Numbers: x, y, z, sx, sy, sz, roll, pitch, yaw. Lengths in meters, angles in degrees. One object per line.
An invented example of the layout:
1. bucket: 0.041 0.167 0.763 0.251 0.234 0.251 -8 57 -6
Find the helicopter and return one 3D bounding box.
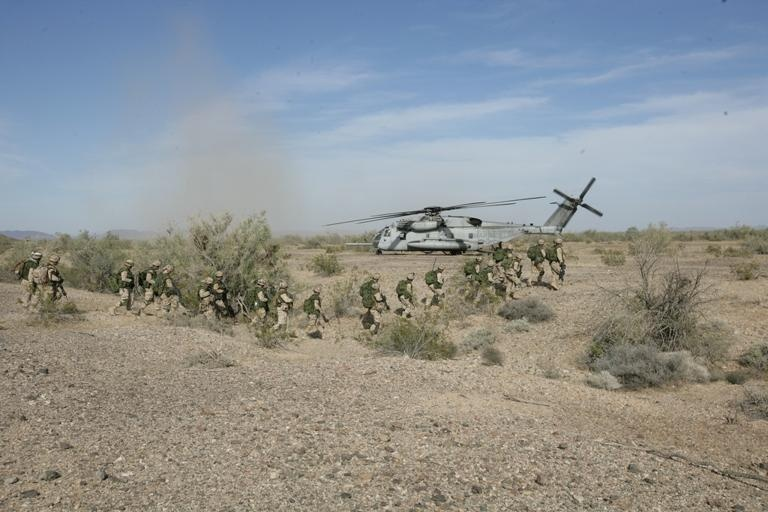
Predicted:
1. helicopter: 5.046 -1.082 33.102 12.972 3.699 3.365 1 -4 0
